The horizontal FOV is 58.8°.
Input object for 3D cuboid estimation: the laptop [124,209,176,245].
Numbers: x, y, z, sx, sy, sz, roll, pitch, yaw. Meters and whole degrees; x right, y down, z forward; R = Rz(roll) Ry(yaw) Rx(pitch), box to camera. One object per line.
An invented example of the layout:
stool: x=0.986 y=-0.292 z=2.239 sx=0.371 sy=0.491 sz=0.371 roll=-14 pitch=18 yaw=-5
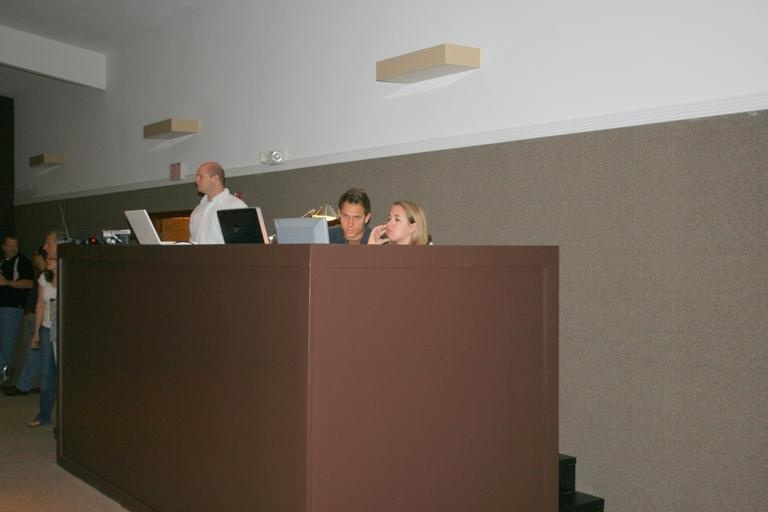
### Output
laptop: x=-1.602 y=-0.185 z=4.511 sx=0.093 sy=0.248 sz=0.372 roll=-16 pitch=4 yaw=-33

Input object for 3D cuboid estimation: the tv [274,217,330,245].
tv: x=-0.471 y=-0.135 z=3.807 sx=0.309 sy=0.154 sz=0.124 roll=-13 pitch=4 yaw=27
